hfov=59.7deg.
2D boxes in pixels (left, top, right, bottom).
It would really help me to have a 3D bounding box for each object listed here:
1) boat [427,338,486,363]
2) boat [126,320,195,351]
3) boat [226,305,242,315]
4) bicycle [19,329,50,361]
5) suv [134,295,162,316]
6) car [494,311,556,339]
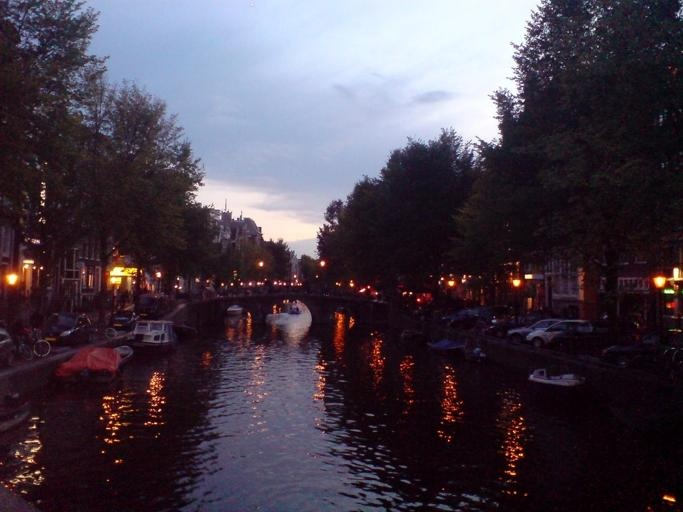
[{"bbox_3d":[9.764,7.823,48.617,1.137,0.681,4.473,-23,9,-16],"label":"boat"},{"bbox_3d":[-14.766,6.375,46.589,1.868,2.303,4.927,2,0,28],"label":"boat"},{"bbox_3d":[-19.111,9.763,105.766,3.241,0.834,3.401,0,0,-18],"label":"boat"},{"bbox_3d":[-17.873,4.967,34.662,1.484,1.537,4.094,1,0,-27],"label":"bicycle"},{"bbox_3d":[-19.068,5.071,58.957,2.414,2.000,3.137,1,0,-19],"label":"suv"},{"bbox_3d":[13.632,5.693,44.818,4.171,1.546,1.855,-3,-2,26],"label":"car"}]
